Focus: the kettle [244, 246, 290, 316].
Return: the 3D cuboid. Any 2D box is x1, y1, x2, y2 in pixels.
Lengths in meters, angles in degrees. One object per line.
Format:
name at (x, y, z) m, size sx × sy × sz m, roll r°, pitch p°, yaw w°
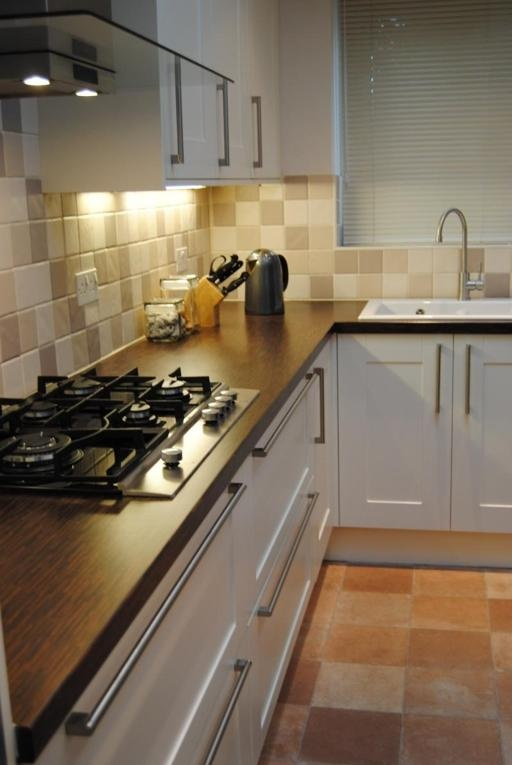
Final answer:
kettle at (0.046, -0.462, 2.607) m, size 0.166 × 0.331 × 0.308 m, roll 2°, pitch 12°, yaw 14°
